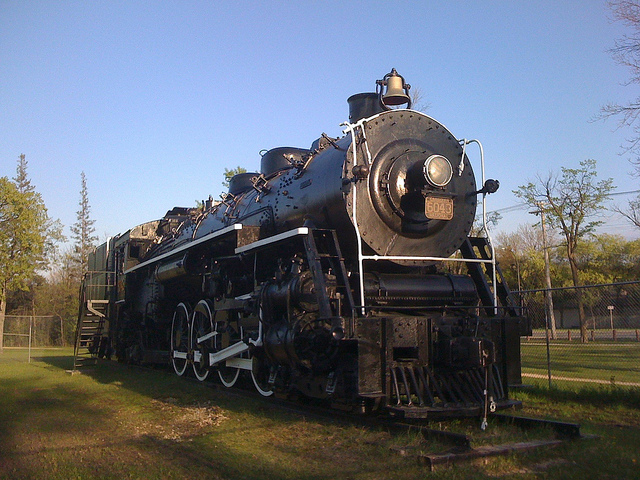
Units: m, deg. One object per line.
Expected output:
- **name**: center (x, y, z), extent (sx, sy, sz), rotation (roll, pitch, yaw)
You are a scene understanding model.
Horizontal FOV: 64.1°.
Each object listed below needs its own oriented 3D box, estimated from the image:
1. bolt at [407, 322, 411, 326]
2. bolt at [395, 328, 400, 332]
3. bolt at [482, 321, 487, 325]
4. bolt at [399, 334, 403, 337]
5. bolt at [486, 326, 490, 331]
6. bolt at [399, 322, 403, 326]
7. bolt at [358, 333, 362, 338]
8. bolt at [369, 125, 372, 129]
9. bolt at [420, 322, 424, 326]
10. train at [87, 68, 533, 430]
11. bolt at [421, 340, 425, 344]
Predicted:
- **bolt**: center (1.347, 1.268, 7.799), extent (0.054, 0.047, 0.010), rotation (2, -6, -29)
- **bolt**: center (1.152, 1.343, 7.713), extent (0.081, 0.059, 0.022), rotation (4, -7, -39)
- **bolt**: center (2.671, 1.334, 8.357), extent (0.030, 0.032, 0.117), rotation (-3, -21, -9)
- **bolt**: center (1.208, 1.425, 7.727), extent (0.045, 0.042, 0.039), rotation (-2, -5, 1)
- **bolt**: center (2.743, 1.440, 8.416), extent (0.038, 0.075, 0.080), rotation (-6, -7, 43)
- **bolt**: center (1.207, 1.255, 7.743), extent (0.046, 0.034, 0.066), rotation (-2, -7, -2)
- **bolt**: center (0.574, 1.387, 7.471), extent (0.036, 0.067, 0.040), rotation (2, 6, -13)
- **bolt**: center (0.836, -1.930, 8.658), extent (0.064, 0.065, 0.015), rotation (2, -2, -37)
- **bolt**: center (1.562, 1.278, 7.899), extent (0.076, 0.040, 0.016), rotation (4, -7, -41)
- **train**: center (-1.036, 1.194, 14.400), extent (5.184, 6.778, 15.064), rotation (6, -12, -26)
- **bolt**: center (1.571, 1.549, 7.881), extent (0.065, 0.050, 0.013), rotation (3, -7, -37)
